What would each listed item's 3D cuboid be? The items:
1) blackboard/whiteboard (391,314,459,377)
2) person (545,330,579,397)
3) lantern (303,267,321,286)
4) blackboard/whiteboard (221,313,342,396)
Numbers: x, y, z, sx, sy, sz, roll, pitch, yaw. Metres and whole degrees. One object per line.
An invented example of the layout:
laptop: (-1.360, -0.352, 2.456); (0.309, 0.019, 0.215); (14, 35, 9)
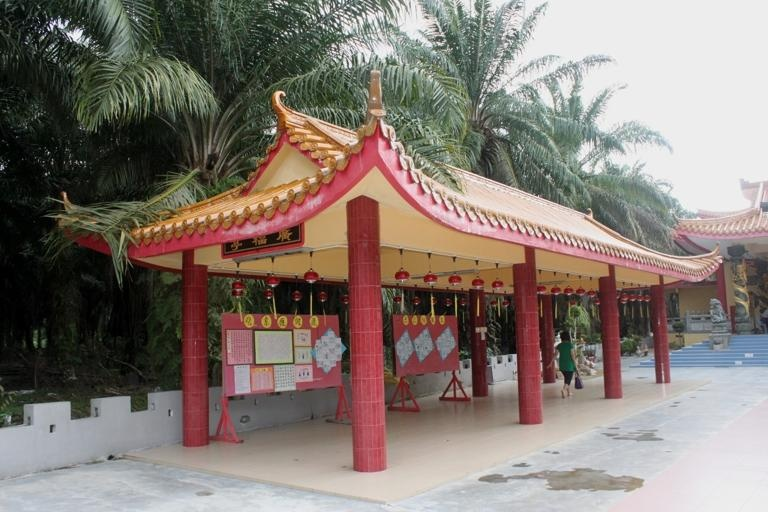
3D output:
blackboard/whiteboard: (1.249, 2.602, 18.673); (0.608, 1.723, 2.801); (-9, -11, 37)
person: (5.660, 3.337, 20.218); (1.290, 2.874, 0.940); (2, -2, -45)
lantern: (-1.859, 0.481, 16.065); (0.489, 0.553, 0.501); (5, -8, -38)
blackboard/whiteboard: (-2.594, 2.348, 15.344); (2.792, 1.859, 0.613); (2, -10, -25)
